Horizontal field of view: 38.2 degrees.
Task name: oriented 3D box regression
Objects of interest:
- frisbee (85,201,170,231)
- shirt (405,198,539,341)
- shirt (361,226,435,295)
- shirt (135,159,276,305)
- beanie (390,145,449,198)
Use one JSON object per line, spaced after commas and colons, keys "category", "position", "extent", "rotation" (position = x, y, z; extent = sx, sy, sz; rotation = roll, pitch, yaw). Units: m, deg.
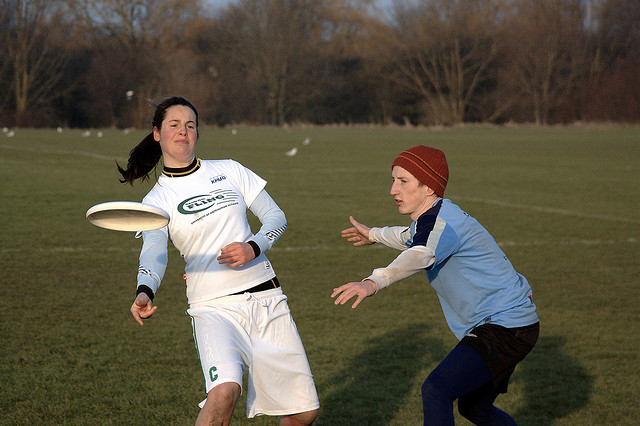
{"category": "frisbee", "position": [-1.994, -0.028, 9.599], "extent": [0.538, 0.076, 0.566], "rotation": [7, 21, 16]}
{"category": "shirt", "position": [1.580, 0.474, 10.129], "extent": [1.179, 1.623, 1.457], "rotation": [-15, 19, 7]}
{"category": "shirt", "position": [0.789, 0.531, 9.622], "extent": [0.650, 0.277, 1.026], "rotation": [-12, 27, 5]}
{"category": "shirt", "position": [-1.288, 0.154, 10.097], "extent": [1.660, 1.525, 0.668], "rotation": [-19, 14, -27]}
{"category": "beanie", "position": [1.070, -0.470, 10.029], "extent": [0.656, 0.567, 0.618], "rotation": [4, -4, 40]}
